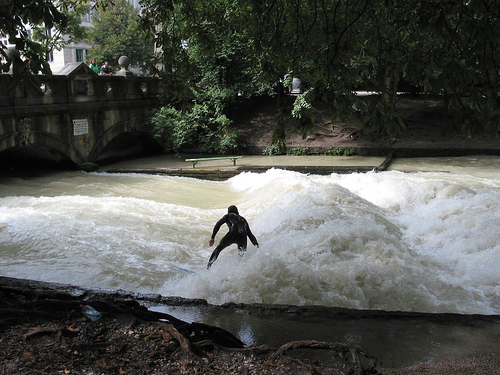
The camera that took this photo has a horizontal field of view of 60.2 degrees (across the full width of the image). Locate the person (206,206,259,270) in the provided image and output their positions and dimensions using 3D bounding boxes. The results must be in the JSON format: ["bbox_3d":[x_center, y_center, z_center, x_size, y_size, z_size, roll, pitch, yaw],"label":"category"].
[{"bbox_3d":[-0.465,1.198,9.885,0.861,1.977,0.611,14,-35,-8],"label":"person"}]

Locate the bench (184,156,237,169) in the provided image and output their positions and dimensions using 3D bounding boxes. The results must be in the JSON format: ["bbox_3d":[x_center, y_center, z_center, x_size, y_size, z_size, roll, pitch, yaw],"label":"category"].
[{"bbox_3d":[-1.835,-1.210,20.648,2.812,0.578,0.531,-4,9,-12],"label":"bench"}]
